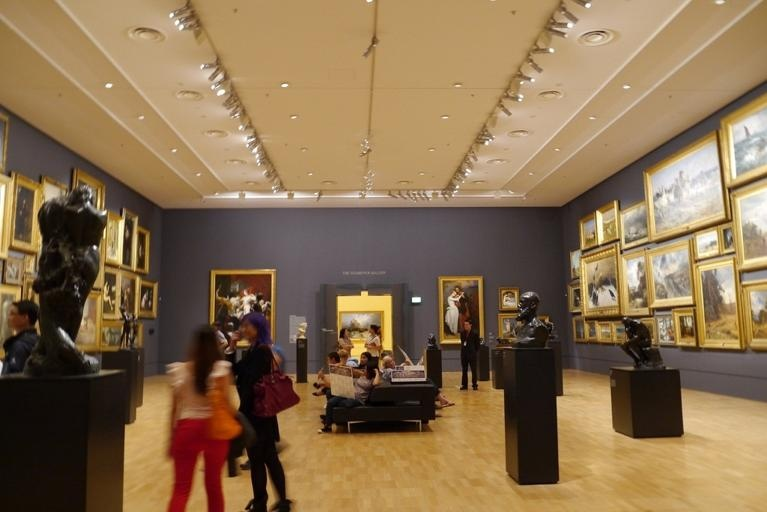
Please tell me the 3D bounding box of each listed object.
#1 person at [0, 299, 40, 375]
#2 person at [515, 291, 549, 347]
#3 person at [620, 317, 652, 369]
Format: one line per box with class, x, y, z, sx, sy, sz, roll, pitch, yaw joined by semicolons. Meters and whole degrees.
person;-4.871;1.066;6.502;0.360;0.981;1.201;8;-12;-36
person;2.530;1.071;8.298;0.528;0.939;0.729;-2;-10;15
person;5.746;1.931;11.001;0.579;1.120;1.238;-4;-11;26
